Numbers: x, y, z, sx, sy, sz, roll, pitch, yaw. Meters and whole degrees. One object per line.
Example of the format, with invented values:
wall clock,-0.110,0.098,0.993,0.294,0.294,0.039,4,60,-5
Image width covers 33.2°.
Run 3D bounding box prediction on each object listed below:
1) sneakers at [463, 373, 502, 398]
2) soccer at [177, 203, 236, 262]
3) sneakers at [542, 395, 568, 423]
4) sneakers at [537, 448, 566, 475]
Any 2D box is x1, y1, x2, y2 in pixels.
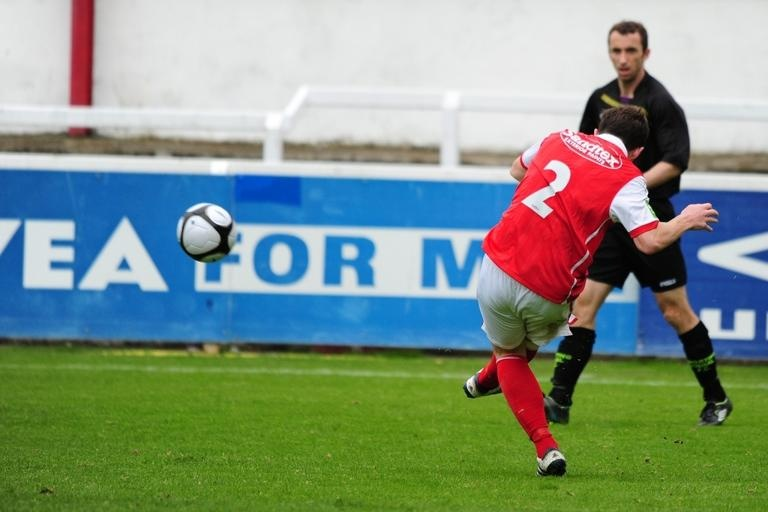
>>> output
sneakers,0.545,0.784,7.738,0.292,0.132,0.105,0,-1,39
soccer,-1.109,-0.142,8.032,0.359,0.341,0.335,1,-2,-31
sneakers,1.049,0.946,7.915,0.239,0.100,0.086,35,-16,-33
sneakers,0.924,1.127,7.080,0.154,0.155,0.105,0,-2,4
